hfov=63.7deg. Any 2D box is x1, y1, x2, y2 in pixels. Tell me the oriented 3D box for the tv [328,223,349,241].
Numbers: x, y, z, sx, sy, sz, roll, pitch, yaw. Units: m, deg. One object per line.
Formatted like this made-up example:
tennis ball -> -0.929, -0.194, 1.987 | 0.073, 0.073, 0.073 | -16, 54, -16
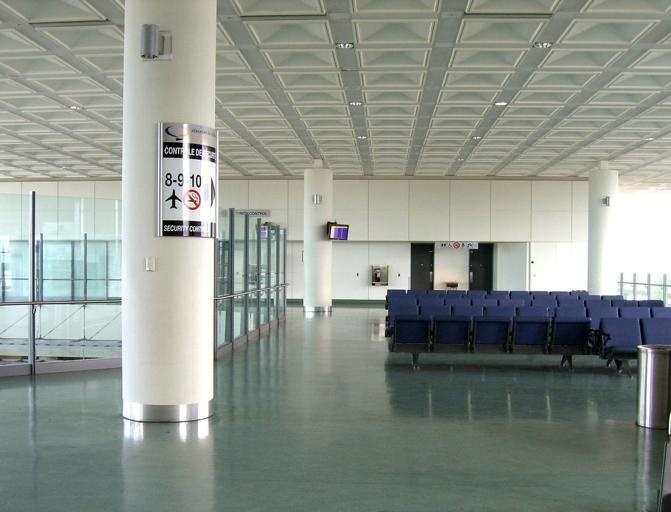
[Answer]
tv -> 0.075, -0.912, 20.483 | 0.130, 0.439, 0.956 | 1, -1, 43
